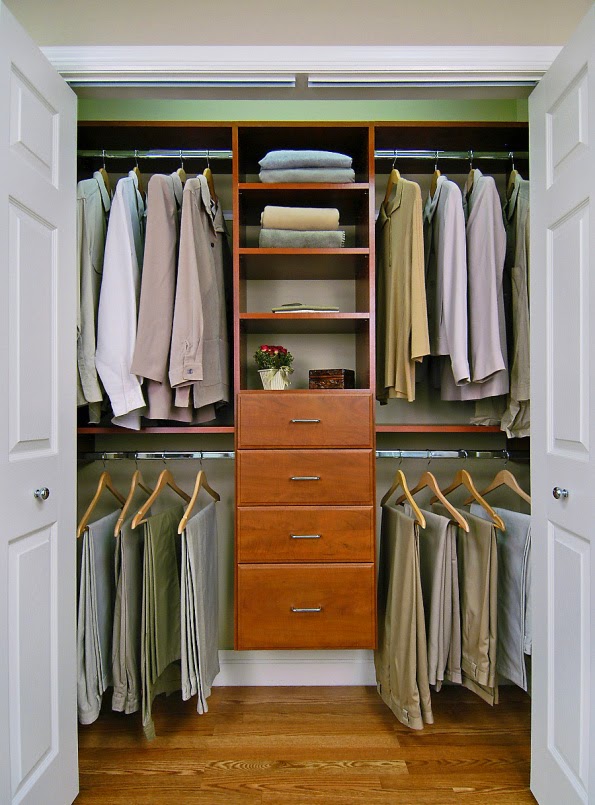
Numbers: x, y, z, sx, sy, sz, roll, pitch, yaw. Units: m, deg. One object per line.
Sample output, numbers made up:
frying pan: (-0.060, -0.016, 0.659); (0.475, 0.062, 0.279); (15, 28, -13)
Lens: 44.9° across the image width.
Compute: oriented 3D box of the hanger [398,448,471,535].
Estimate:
hanger: (0.445, 0.307, 2.313); (0.176, 0.173, 0.393); (0, 5, 7)

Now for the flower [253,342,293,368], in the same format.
flower: (-0.081, -0.147, 2.441); (0.073, 0.079, 0.094); (2, -3, -11)

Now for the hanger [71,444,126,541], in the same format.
hanger: (-0.677, 0.300, 2.458); (0.238, 0.203, 0.020); (0, -2, -12)

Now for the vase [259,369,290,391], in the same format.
vase: (-0.074, -0.063, 2.420); (0.064, 0.069, 0.074); (1, -2, -21)

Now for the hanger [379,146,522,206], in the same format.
hanger: (0.570, -0.785, 2.568); (0.701, 0.244, 0.122); (0, 6, 0)

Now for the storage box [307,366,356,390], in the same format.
storage box: (0.127, -0.077, 2.417); (0.162, 0.066, 0.194); (-1, 5, -9)

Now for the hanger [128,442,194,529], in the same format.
hanger: (-0.427, 0.290, 2.343); (0.015, 0.154, 0.299); (6, 9, 30)
